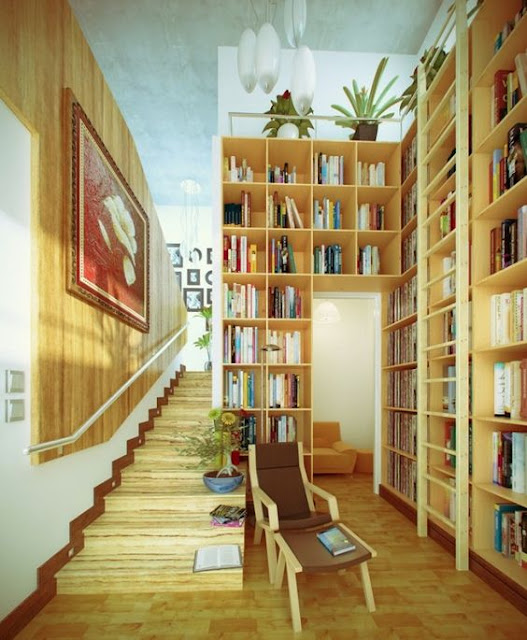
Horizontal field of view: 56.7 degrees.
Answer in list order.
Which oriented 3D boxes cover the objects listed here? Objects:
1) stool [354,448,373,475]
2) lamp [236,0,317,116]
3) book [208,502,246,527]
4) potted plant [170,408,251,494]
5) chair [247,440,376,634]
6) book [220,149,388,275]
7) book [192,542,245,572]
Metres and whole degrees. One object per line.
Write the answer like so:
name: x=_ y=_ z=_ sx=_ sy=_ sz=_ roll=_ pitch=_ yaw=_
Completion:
stool: x=1.250 y=1.758 z=6.085 sx=0.254 sy=0.297 sz=0.278 roll=1 pitch=-5 yaw=-6
lamp: x=0.086 y=-1.777 z=3.138 sx=0.505 sy=0.833 sz=0.488 roll=0 pitch=-3 yaw=-4
book: x=-0.248 y=1.344 z=3.344 sx=0.237 sy=0.080 sz=0.275 roll=1 pitch=-3 yaw=-7
potted plant: x=-0.494 y=0.925 z=3.898 sx=0.628 sy=0.876 sz=0.616 roll=0 pitch=-4 yaw=4
chair: x=0.202 y=1.215 z=3.038 sx=0.478 sy=0.770 sz=1.005 roll=-1 pitch=-6 yaw=-8
book: x=0.383 y=-1.047 z=4.632 sx=1.004 sy=1.025 sz=0.283 roll=1 pitch=-7 yaw=-5
book: x=-0.288 y=1.499 z=3.040 sx=0.306 sy=0.077 sz=0.281 roll=0 pitch=-3 yaw=-1
